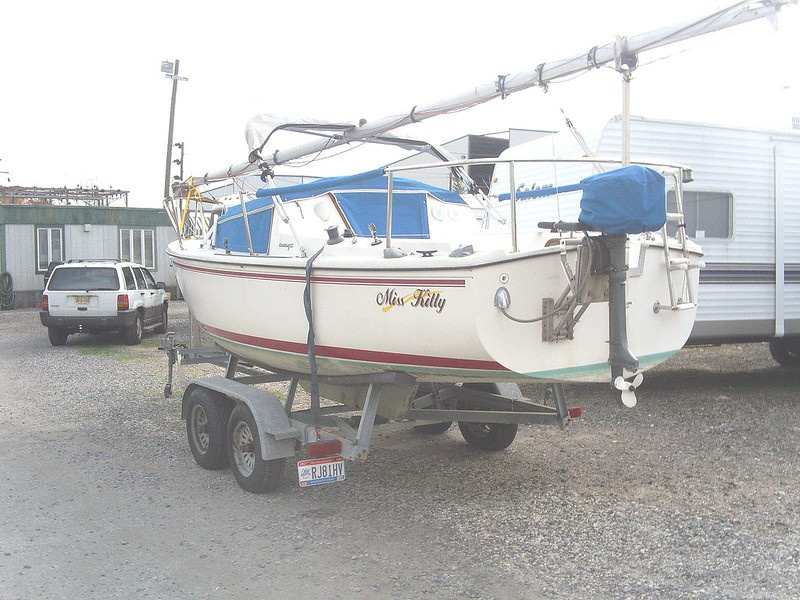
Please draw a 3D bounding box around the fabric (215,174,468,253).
[{"bbox_3d":[-0.726,-0.846,6.743,1.474,0.434,1.095,-3,1,32],"label":"fabric"}]

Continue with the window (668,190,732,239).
[{"bbox_3d":[3.449,-1.001,8.261,0.933,0.653,0.038,0,-2,-14],"label":"window"}]

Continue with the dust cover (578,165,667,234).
[{"bbox_3d":[1.619,-0.756,5.183,0.611,0.467,0.692,12,19,43],"label":"dust cover"}]

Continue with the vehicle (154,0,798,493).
[{"bbox_3d":[-0.576,0.047,7.430,7.017,2.971,2.554,5,3,42],"label":"vehicle"}]

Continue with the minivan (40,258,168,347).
[{"bbox_3d":[-5.635,-0.042,14.240,1.409,1.064,2.552,0,6,1],"label":"minivan"}]

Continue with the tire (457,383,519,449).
[{"bbox_3d":[0.837,1.070,6.722,0.629,0.662,0.234,18,-1,9],"label":"tire"}]

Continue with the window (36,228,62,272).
[{"bbox_3d":[-11.078,-1.658,22.541,0.744,1.264,0.063,-8,4,39],"label":"window"}]

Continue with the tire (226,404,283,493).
[{"bbox_3d":[-1.212,1.255,6.023,0.221,0.635,0.678,-8,-3,-33],"label":"tire"}]

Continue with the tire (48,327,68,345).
[{"bbox_3d":[-6.469,0.677,13.489,0.123,0.341,0.344,-5,0,10],"label":"tire"}]
